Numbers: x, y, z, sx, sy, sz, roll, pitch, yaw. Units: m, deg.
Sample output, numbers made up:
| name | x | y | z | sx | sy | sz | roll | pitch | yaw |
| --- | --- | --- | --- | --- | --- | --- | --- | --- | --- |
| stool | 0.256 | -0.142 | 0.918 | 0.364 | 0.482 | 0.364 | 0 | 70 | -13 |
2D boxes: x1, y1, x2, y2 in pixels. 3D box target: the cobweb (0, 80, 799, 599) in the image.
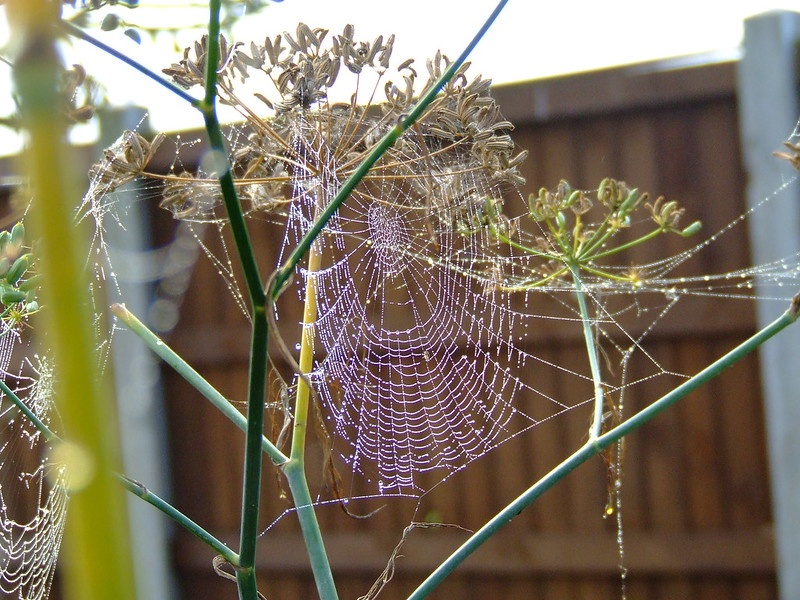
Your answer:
| name | x | y | z | sx | sy | sz | roll | pitch | yaw |
| --- | --- | --- | --- | --- | --- | --- | --- | --- | --- |
| cobweb | -0.049 | 0.385 | 3.632 | 1.810 | 1.178 | 1.845 | 3 | 4 | -38 |
